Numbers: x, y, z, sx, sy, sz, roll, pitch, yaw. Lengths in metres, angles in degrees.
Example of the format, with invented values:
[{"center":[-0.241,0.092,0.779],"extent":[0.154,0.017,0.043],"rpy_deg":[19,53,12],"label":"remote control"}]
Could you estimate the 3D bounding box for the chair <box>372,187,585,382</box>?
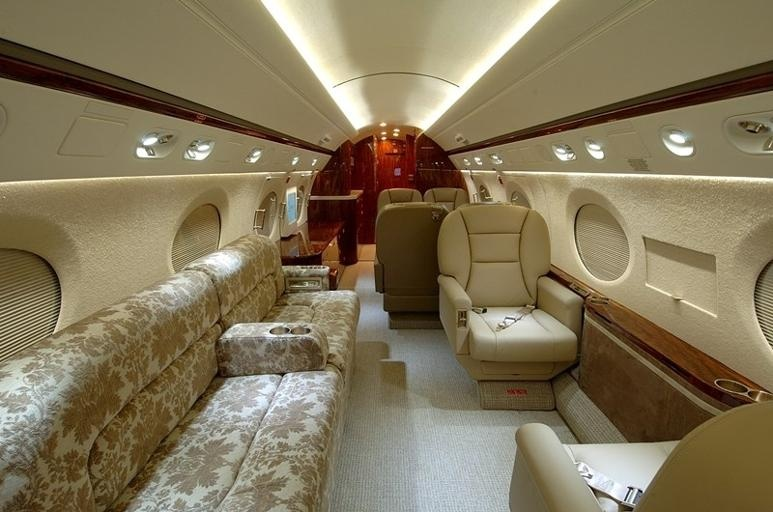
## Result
[{"center":[0.921,0.217,4.025],"extent":[1.238,1.066,1.865],"rpy_deg":[0,5,0],"label":"chair"}]
